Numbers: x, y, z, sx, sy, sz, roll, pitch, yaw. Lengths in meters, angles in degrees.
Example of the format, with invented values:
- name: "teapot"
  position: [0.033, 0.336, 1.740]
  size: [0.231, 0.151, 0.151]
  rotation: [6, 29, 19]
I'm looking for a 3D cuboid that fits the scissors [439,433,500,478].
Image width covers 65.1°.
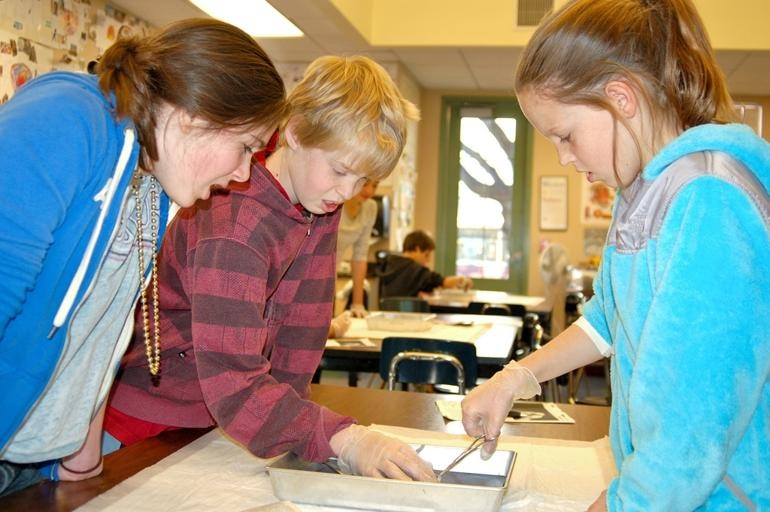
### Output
- name: "scissors"
  position: [0.196, 0.457, 1.424]
  size: [0.052, 0.175, 0.030]
  rotation: [33, -22, 54]
